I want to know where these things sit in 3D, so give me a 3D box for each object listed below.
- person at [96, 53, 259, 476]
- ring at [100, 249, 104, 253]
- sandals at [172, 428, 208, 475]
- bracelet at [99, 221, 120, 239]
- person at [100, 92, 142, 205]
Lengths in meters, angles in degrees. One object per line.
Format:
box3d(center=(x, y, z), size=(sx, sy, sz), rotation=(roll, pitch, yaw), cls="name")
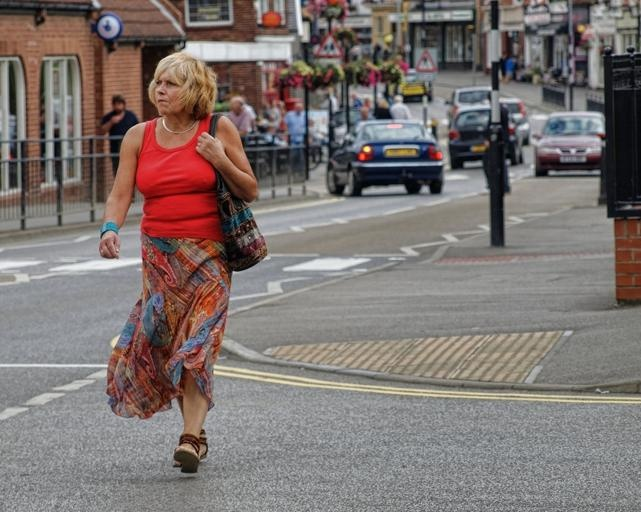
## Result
box3d(center=(-0.770, 0.013, 7.600), size=(0.856, 2.243, 0.522), rotation=(-2, 5, -11), cls="person")
box3d(center=(-1.200, -0.029, 7.534), size=(0.006, 0.021, 0.015), rotation=(2, 11, 32), cls="ring")
box3d(center=(-0.711, 1.068, 7.531), size=(0.143, 0.135, 0.424), rotation=(0, -10, 0), cls="sandals")
box3d(center=(-1.186, -0.143, 7.670), size=(0.090, 0.063, 0.089), rotation=(-2, -3, -41), cls="bracelet")
box3d(center=(-3.204, -1.795, 22.691), size=(0.536, 1.665, 0.437), rotation=(-11, 6, -7), cls="person")
